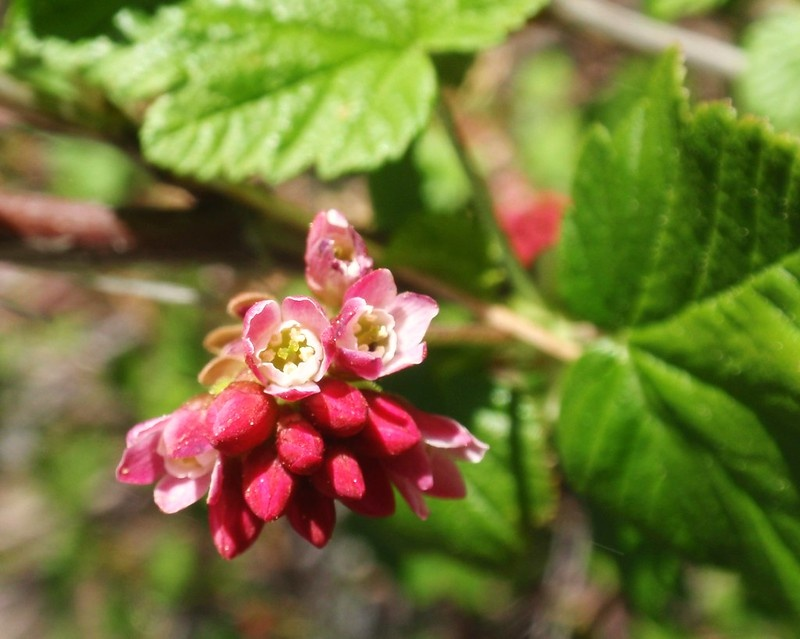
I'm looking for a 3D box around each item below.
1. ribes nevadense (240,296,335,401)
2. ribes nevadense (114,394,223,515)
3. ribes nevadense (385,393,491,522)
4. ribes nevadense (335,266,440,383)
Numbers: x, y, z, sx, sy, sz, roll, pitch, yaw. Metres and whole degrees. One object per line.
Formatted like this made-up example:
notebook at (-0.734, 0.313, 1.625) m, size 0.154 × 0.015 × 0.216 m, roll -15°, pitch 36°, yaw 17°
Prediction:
ribes nevadense at (-0.139, 0.037, 1.112) m, size 0.110 × 0.096 × 0.128 m, roll -7°, pitch 75°, yaw -4°
ribes nevadense at (-0.299, 0.174, 1.129) m, size 0.140 × 0.088 × 0.133 m, roll -17°, pitch 76°, yaw -7°
ribes nevadense at (0.038, 0.193, 1.220) m, size 0.079 × 0.157 × 0.142 m, roll 43°, pitch 80°, yaw -33°
ribes nevadense at (-0.019, 0.007, 1.111) m, size 0.118 × 0.076 × 0.138 m, roll 16°, pitch 75°, yaw 2°
